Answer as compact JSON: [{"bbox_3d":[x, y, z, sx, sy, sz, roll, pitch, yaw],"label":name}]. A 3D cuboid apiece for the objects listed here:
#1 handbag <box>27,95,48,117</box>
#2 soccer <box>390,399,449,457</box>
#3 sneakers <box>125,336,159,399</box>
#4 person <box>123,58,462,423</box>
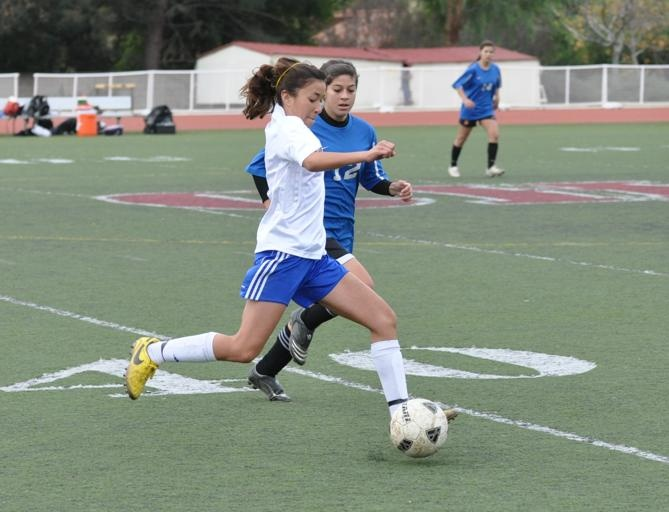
[{"bbox_3d":[-8.909,-4.463,31.564,0.639,0.614,0.555,0,9,-7],"label":"handbag"},{"bbox_3d":[0.405,0.840,5.145,0.274,0.268,0.180,2,9,6],"label":"soccer"},{"bbox_3d":[-1.035,0.583,5.595,0.259,0.310,0.145,5,4,6],"label":"sneakers"},{"bbox_3d":[-0.245,-0.116,5.455,1.484,1.811,0.512,4,11,18],"label":"person"}]
